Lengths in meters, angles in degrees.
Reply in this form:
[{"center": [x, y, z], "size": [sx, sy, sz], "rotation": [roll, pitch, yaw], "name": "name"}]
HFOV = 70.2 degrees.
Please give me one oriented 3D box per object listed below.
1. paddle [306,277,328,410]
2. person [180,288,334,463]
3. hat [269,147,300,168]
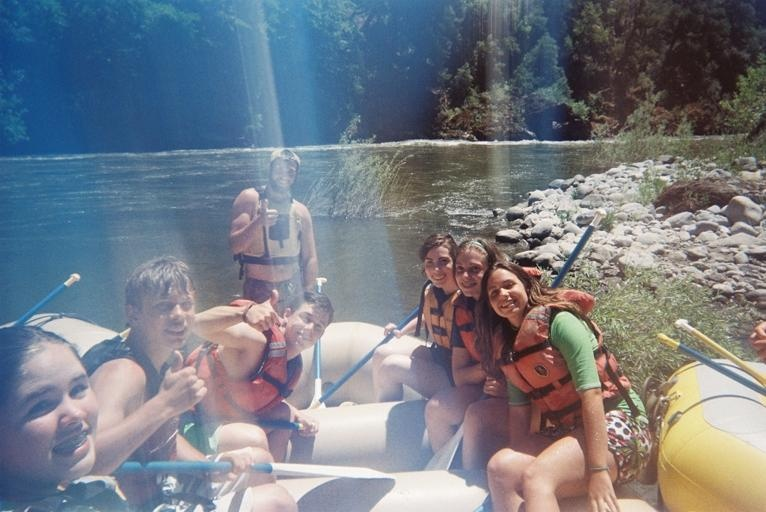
[{"center": [-0.607, 0.827, 5.242], "size": [0.204, 1.153, 0.076], "rotation": [8, -12, -8], "name": "paddle"}, {"center": [-0.938, 0.930, 4.112], "size": [0.609, 0.745, 1.077], "rotation": [20, 46, 21], "name": "person"}, {"center": [-0.924, -0.945, 5.211], "size": [0.239, 0.180, 0.239], "rotation": [6, 12, 2], "name": "hat"}]
